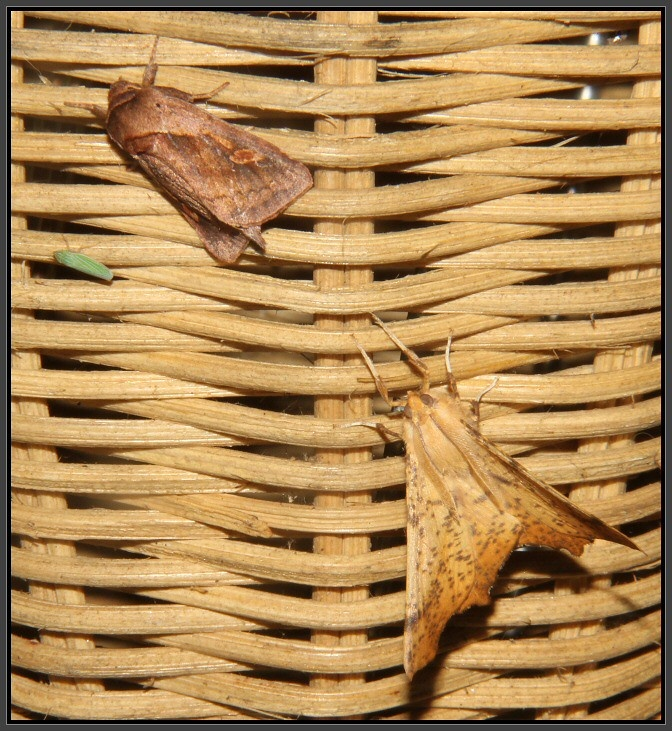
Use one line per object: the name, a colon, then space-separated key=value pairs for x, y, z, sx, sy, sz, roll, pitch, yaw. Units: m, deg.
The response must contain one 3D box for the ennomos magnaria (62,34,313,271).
ennomos magnaria: x=-0.261 y=-0.398 z=2.469 sx=0.386 sy=0.159 sz=0.527 roll=-43 pitch=-88 yaw=11
